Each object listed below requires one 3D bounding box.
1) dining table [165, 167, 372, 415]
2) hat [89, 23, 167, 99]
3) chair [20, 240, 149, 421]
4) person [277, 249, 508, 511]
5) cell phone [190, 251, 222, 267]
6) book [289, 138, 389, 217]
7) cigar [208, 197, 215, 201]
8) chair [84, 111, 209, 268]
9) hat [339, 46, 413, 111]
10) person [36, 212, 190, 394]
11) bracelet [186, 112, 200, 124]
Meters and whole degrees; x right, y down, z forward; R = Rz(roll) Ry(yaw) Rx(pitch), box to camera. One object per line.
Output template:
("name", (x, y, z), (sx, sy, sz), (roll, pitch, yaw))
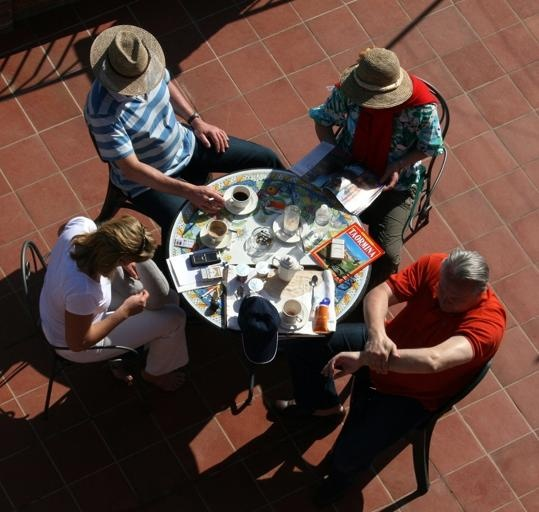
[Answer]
("dining table", (-0.049, 0.122, 4.516), (1.218, 1.266, 1.170), (7, 70, -3))
("hat", (-0.941, -1.354, 4.038), (0.478, 0.318, 0.630), (0, 59, -12))
("chair", (-1.200, 0.538, 4.037), (0.839, 1.165, 0.755), (-8, 79, -9))
("person", (0.709, 0.695, 4.007), (1.140, 1.801, 1.199), (31, 33, 8))
("cell phone", (-0.414, 0.012, 3.944), (0.177, 0.043, 0.088), (-7, 67, -12))
("book", (0.486, -0.550, 4.331), (0.548, 0.127, 0.560), (35, 58, 16))
("cigar", (-0.393, -0.379, 4.061), (0.024, 0.005, 0.022), (-23, 57, -16))
("chair", (-1.078, -0.597, 4.371), (0.921, 0.565, 0.630), (-28, 29, -9))
("hat", (0.690, -1.153, 4.150), (0.469, 0.216, 0.437), (-7, 54, -1))
("person", (-0.960, 0.341, 4.011), (1.014, 1.503, 0.692), (2, 47, -17))
("bracelet", (-0.602, -1.052, 4.718), (0.033, 0.085, 0.087), (54, 27, -10))
